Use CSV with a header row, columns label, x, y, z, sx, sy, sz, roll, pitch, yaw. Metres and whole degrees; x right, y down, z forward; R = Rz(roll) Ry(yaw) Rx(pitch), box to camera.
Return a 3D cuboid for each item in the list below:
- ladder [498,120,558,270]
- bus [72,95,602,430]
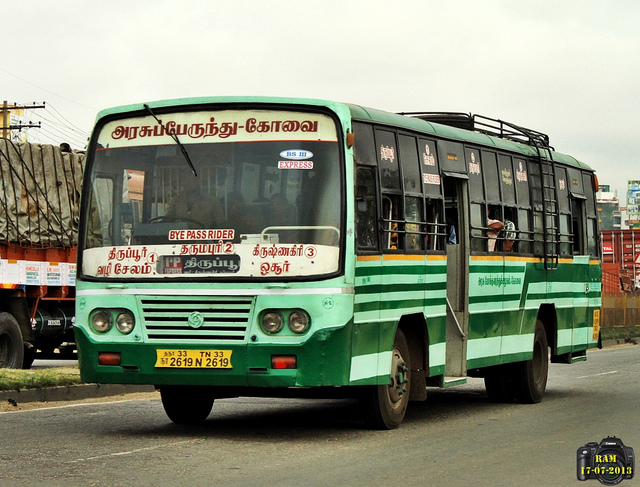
label,x,y,z,sx,sy,sz,roll,pitch,yaw
ladder,3.373,-0.646,12.315,0.544,2.503,0.714,-2,1,-17
bus,1.577,0.272,11.876,3.026,4.707,10.694,-7,-9,38
